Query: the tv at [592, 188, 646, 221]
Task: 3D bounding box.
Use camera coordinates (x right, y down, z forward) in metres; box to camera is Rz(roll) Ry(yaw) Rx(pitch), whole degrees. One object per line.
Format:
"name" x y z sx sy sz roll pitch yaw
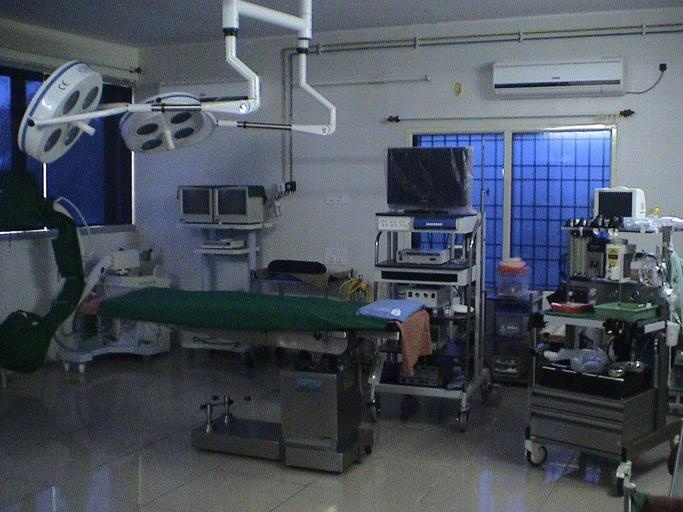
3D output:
"tv" 2.274 -0.441 5.267 0.413 0.350 0.237 2 4 31

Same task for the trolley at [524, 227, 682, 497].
"trolley" 1.933 0.597 4.758 1.025 1.678 1.272 2 9 18

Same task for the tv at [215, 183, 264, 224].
"tv" -1.095 -0.550 6.917 0.529 0.398 0.217 -3 9 -16

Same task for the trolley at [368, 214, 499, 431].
"trolley" 1.017 0.402 5.892 1.262 2.485 1.543 0 1 22

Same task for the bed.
"bed" -0.693 0.398 4.870 1.877 0.446 1.036 1 5 17

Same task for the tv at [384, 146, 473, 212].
"tv" 0.730 -0.644 5.419 0.699 0.532 0.167 2 9 14

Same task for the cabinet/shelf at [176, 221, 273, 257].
"cabinet/shelf" -1.295 -0.218 7.214 0.977 0.365 0.506 3 10 19
